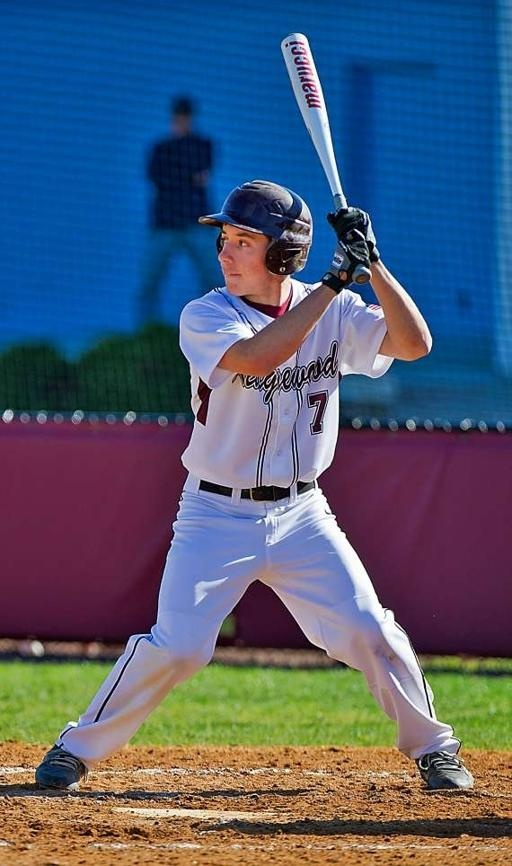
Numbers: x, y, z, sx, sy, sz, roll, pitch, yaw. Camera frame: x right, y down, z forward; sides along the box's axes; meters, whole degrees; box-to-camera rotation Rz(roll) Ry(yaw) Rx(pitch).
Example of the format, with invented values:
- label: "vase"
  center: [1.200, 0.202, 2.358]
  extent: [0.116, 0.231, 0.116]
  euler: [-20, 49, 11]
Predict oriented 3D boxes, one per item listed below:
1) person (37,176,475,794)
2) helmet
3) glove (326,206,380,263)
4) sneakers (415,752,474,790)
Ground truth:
- label: "person"
  center: [0.034, 0.137, 2.830]
  extent: [1.082, 1.564, 0.485]
  euler: [0, 4, -11]
- label: "helmet"
  center: [0.008, -0.544, 2.915]
  extent: [0.236, 0.231, 0.307]
  euler: [21, 25, 38]
- label: "glove"
  center: [0.238, -0.504, 2.757]
  extent: [0.111, 0.147, 0.074]
  euler: [-22, 4, 1]
- label: "sneakers"
  center: [0.486, 0.860, 2.894]
  extent: [0.078, 0.063, 0.143]
  euler: [-1, -5, -18]
